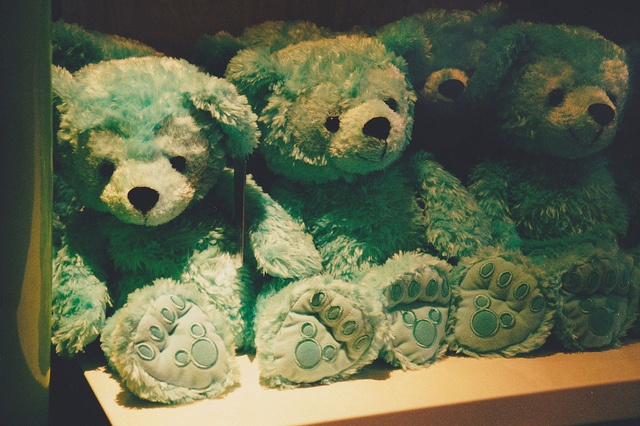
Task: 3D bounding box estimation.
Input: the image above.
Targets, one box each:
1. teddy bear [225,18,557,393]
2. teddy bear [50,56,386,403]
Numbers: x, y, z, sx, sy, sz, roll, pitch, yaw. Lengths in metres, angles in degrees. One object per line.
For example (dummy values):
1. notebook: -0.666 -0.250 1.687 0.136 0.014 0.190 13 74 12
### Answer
1. teddy bear: 0.150 -0.020 1.463 0.688 0.692 0.663 7 31 25
2. teddy bear: -0.297 0.018 1.429 0.633 0.650 0.562 -9 14 -2
